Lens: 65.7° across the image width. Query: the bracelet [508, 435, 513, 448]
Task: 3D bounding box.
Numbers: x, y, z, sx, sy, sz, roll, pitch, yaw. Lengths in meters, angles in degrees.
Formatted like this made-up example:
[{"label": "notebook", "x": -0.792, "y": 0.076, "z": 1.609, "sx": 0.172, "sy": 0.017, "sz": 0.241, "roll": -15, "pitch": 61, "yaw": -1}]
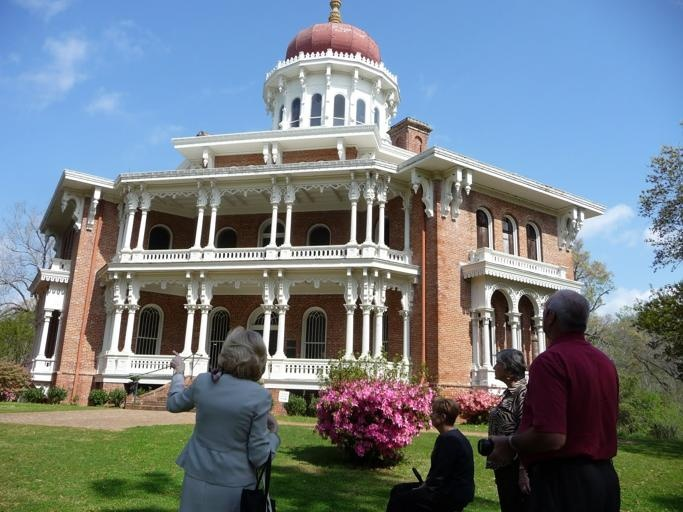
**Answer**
[{"label": "bracelet", "x": 1.388, "y": 1.513, "z": 4.322, "sx": 0.034, "sy": 0.092, "sz": 0.078, "roll": -7, "pitch": -4, "yaw": 17}]
